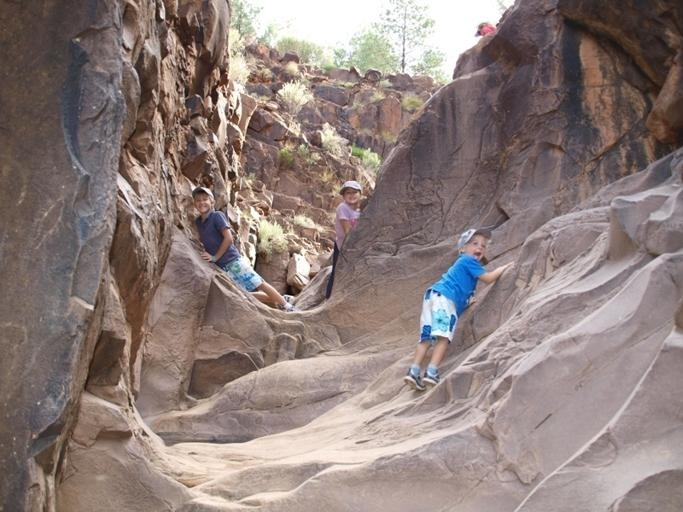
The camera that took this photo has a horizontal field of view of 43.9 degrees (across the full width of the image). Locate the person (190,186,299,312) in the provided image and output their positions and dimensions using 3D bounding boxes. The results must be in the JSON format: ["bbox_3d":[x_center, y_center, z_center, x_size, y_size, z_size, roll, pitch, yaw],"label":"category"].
[{"bbox_3d":[-1.253,-0.161,10.479,1.507,0.627,0.915,50,-31,-18],"label":"person"}]

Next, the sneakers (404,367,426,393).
[{"bbox_3d":[0.656,1.079,7.425,0.100,0.141,0.295,-3,-39,43],"label":"sneakers"}]

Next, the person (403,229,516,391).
[{"bbox_3d":[1.071,0.526,7.922,0.905,1.675,0.735,3,-24,4],"label":"person"}]

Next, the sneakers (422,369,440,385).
[{"bbox_3d":[0.788,1.058,7.398,0.074,0.106,0.205,2,-9,26],"label":"sneakers"}]
